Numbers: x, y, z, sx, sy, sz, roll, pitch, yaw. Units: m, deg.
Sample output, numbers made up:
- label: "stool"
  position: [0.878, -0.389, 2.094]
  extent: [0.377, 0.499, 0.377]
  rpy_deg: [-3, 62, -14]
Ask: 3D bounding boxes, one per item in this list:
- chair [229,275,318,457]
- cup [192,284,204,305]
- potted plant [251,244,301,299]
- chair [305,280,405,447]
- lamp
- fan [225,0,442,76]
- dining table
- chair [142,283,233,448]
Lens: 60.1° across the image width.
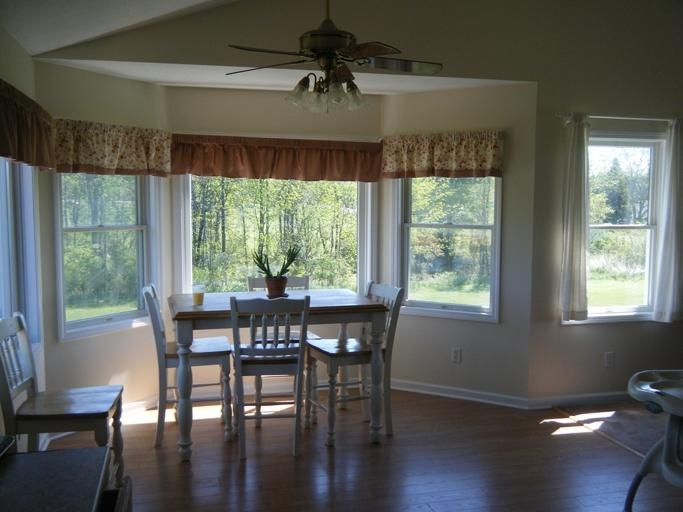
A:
- label: "chair"
  position: [-0.518, 0.777, 4.325]
  extent: [0.562, 1.201, 1.178]
  rpy_deg: [-1, 12, -5]
- label: "cup"
  position: [-1.026, 0.281, 4.250]
  extent: [0.115, 0.195, 0.116]
  rpy_deg: [1, -4, 0]
- label: "potted plant"
  position: [-0.556, 0.125, 4.900]
  extent: [0.393, 0.429, 0.186]
  rpy_deg: [0, -10, -6]
- label: "chair"
  position: [0.080, 0.783, 4.516]
  extent: [0.790, 1.103, 0.782]
  rpy_deg: [2, 2, 38]
- label: "lamp"
  position: [-0.090, -1.010, 3.386]
  extent: [0.351, 0.362, 0.328]
  rpy_deg: [2, 0, -36]
- label: "fan"
  position: [-0.121, -1.531, 4.095]
  extent: [0.939, 0.441, 0.933]
  rpy_deg: [1, 1, 24]
- label: "dining table"
  position: [-0.406, 0.862, 4.603]
  extent: [1.548, 1.015, 1.202]
  rpy_deg: [-2, -2, -4]
- label: "chair"
  position: [-1.132, 0.826, 4.498]
  extent: [0.637, 1.061, 0.604]
  rpy_deg: [-2, -2, -6]
